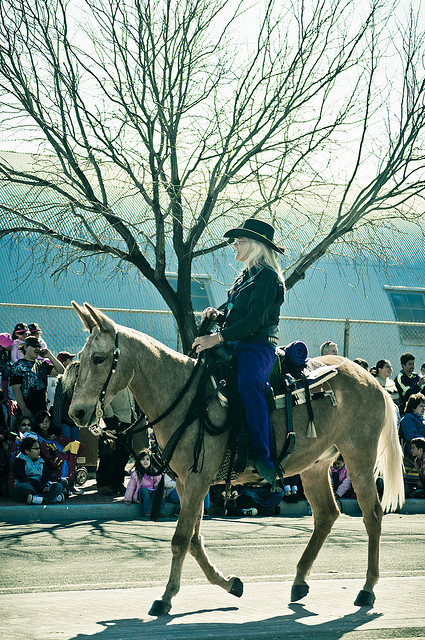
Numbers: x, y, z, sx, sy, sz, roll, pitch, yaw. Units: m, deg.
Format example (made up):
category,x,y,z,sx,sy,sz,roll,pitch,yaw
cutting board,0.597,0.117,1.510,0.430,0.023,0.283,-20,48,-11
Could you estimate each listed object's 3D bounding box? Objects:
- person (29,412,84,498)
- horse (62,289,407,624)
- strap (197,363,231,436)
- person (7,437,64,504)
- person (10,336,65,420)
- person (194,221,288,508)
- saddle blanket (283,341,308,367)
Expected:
category,x,y,z,sx,sy,sz,roll,pitch,yaw
person,-2.472,1.989,10.982,0.887,1.134,0.616,3,-2,-29
horse,0.219,1.091,5.488,3.544,2.002,0.833,9,-21,-35
strap,-0.013,0.543,5.086,0.236,0.518,0.168,3,-13,-23
person,-2.543,2.141,10.440,0.701,0.916,0.474,3,-13,-24
person,-2.749,0.904,11.238,0.640,1.256,0.989,-4,-12,8
person,0.307,0.294,5.811,0.603,2.077,1.549,-4,-12,5
saddle blanket,0.670,0.270,5.933,0.200,0.197,0.080,-25,12,-13
